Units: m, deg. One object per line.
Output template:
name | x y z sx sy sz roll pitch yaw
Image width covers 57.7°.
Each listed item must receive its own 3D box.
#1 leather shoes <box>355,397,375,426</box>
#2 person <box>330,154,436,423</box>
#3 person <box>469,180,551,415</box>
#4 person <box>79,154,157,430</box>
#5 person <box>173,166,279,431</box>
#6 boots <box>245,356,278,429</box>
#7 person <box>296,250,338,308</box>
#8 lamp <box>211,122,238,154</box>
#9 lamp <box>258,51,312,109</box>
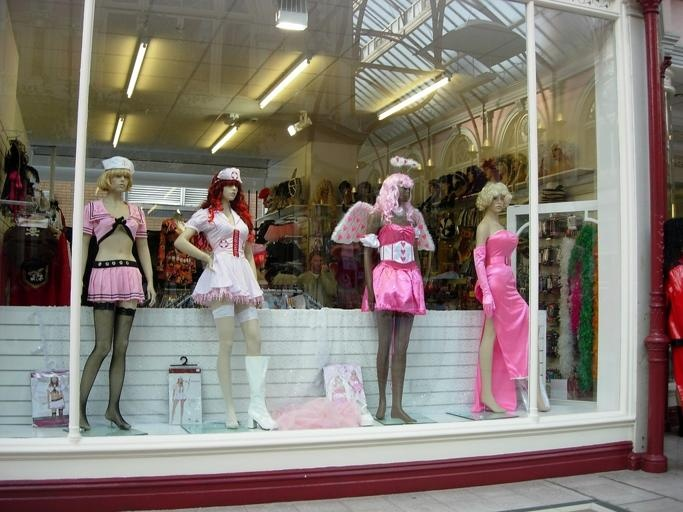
leather shoes | 0.164 1.118 4.446 0.113 0.068 0.196 0 3 -8
person | 0.356 0.281 4.868 0.739 1.891 0.747 -2 -5 7
person | 1.231 0.293 4.881 0.441 1.779 0.392 -3 -5 17
person | -1.516 0.219 4.271 0.483 1.871 0.276 1 -5 -27
person | -0.799 0.264 4.419 0.662 1.850 0.434 -1 -5 -4
boots | -0.552 0.933 4.305 0.194 0.482 0.315 0 -5 -12
person | -0.194 0.203 5.205 0.319 0.240 0.725 5 33 -15
lamp | -1.116 -1.154 6.040 0.111 0.353 0.329 -5 -6 38
lamp | -0.517 -1.695 6.138 0.607 0.407 0.193 -5 -6 31
